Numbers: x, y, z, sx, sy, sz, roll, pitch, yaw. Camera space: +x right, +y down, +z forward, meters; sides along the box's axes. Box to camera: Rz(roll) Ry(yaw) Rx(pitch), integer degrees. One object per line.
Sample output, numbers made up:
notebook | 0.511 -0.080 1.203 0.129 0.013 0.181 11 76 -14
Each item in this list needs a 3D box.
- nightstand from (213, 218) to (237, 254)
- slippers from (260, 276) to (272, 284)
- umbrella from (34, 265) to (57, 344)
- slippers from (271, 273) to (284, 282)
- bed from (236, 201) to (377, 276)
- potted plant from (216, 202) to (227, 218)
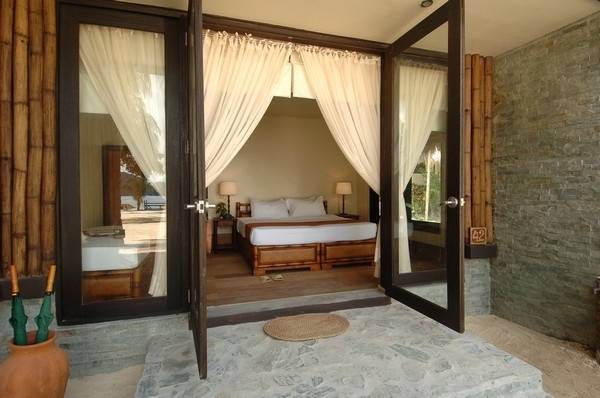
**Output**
nightstand | -1.432 0.695 7.718 0.593 0.824 0.552 -1 3 -20
slippers | -0.460 1.109 5.515 0.155 0.081 0.297 -6 1 -6
umbrella | -2.338 0.967 3.683 0.196 0.803 0.262 -6 2 -34
slippers | -0.312 1.106 5.592 0.155 0.074 0.214 -6 2 -7
bed | 0.051 0.634 6.879 1.450 0.748 1.572 -1 1 -10
potted plant | -1.532 0.217 7.789 0.292 0.372 0.255 0 1 -15
